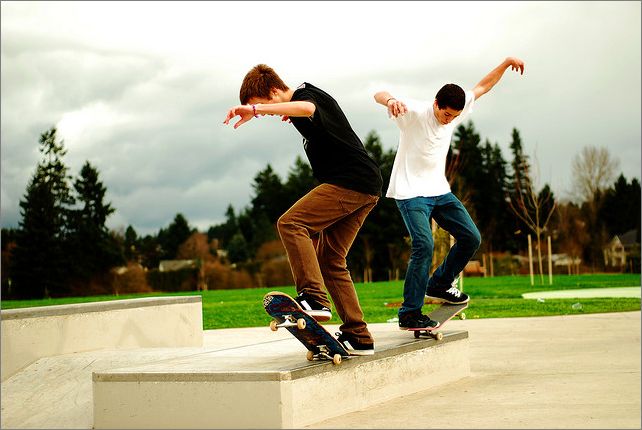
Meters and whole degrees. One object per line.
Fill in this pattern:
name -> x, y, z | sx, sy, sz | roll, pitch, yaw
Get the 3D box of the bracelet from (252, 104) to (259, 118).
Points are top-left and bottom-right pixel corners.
bracelet -> -1.151, -1.861, 12.594 | 0.097, 0.218, 0.252 | -5, -6, -4

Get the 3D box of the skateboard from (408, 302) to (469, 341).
skateboard -> 2.288, 1.989, 13.757 | 0.425, 0.296, 1.651 | 5, 18, 33
